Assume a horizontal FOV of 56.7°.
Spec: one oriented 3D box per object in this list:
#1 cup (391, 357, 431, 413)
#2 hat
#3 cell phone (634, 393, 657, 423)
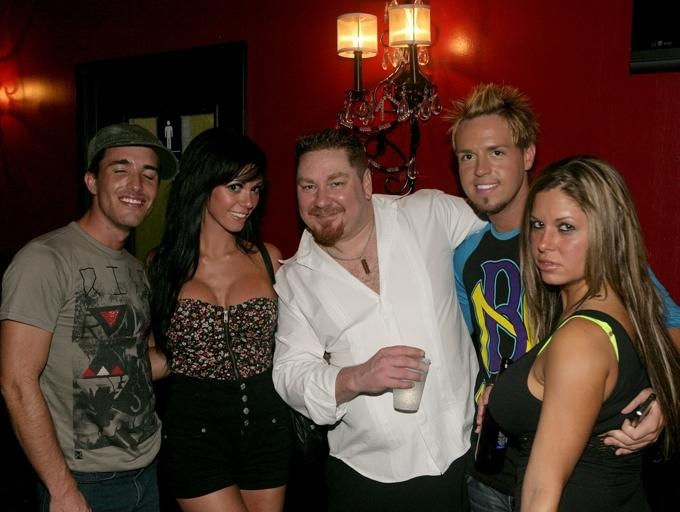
[{"bbox_3d":[0.338,0.582,2.903,0.196,0.251,0.211,2,-3,0],"label":"cup"},{"bbox_3d":[-1.054,-0.560,3.208,0.394,0.236,0.324,-8,-9,13],"label":"hat"},{"bbox_3d":[1.183,0.594,2.466,0.019,0.085,0.085,28,39,13],"label":"cell phone"}]
